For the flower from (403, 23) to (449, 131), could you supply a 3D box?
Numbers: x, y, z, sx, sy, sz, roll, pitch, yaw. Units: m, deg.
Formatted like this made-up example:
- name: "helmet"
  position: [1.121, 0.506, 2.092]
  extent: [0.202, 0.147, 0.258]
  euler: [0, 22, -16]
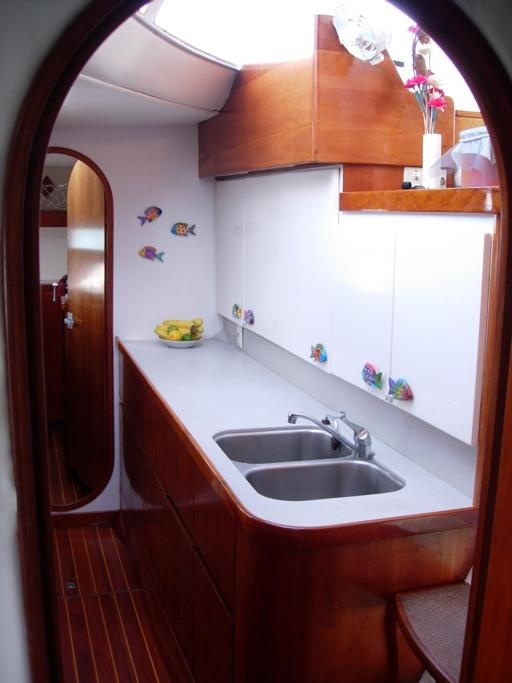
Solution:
- name: "flower"
  position: [0.544, -0.763, 1.656]
  extent: [0.057, 0.234, 0.084]
  euler: [-5, -13, -8]

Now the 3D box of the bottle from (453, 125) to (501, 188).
- name: "bottle"
  position: [0.583, -0.495, 1.389]
  extent: [0.106, 0.184, 0.179]
  euler: [1, 7, 20]

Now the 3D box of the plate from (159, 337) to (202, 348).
- name: "plate"
  position: [-0.452, 0.008, 3.105]
  extent: [0.241, 0.058, 0.212]
  euler: [-2, 7, -8]

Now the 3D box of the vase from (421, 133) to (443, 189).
- name: "vase"
  position: [0.555, -0.598, 1.648]
  extent: [0.064, 0.087, 0.184]
  euler: [-6, -14, 17]

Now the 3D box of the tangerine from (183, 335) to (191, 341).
- name: "tangerine"
  position: [-0.413, -0.031, 3.050]
  extent: [0.027, 0.047, 0.030]
  euler: [-6, -1, 33]

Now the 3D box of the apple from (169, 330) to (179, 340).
- name: "apple"
  position: [-0.477, -0.036, 3.025]
  extent: [0.059, 0.061, 0.042]
  euler: [-2, 6, -9]
